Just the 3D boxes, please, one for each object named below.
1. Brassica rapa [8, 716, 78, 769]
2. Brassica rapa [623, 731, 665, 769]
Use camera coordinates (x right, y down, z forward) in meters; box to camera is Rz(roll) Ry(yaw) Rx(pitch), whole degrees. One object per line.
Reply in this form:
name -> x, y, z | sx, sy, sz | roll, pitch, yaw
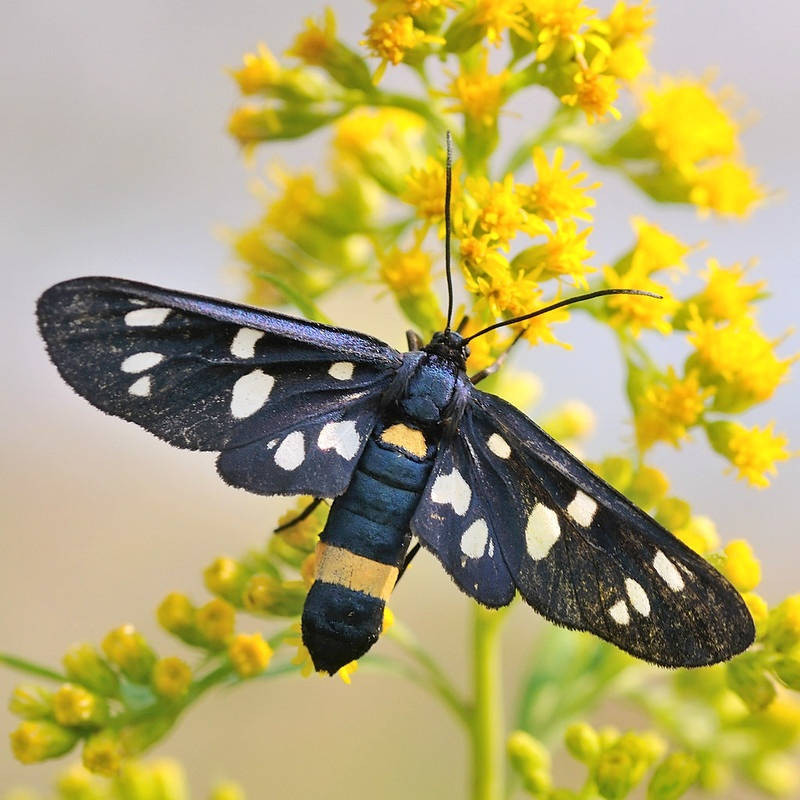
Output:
Brassica rapa -> -0.710, 0.670, 2.087 | 0.126, 0.047, 0.092 | -16, -73, 9
Brassica rapa -> 0.459, 0.657, 2.018 | 0.066, 0.019, 0.082 | -36, -59, 29
